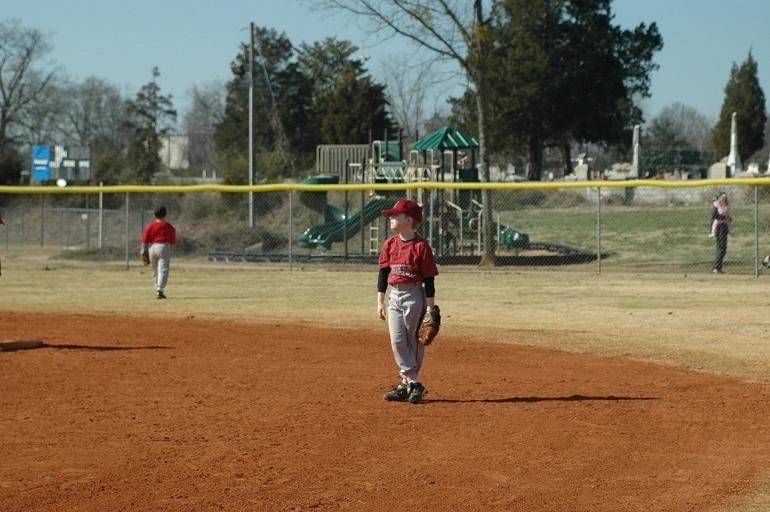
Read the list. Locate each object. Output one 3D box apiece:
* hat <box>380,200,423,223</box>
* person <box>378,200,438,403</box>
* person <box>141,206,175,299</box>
[{"bbox_3d":[0.388,-0.995,24.903,0.728,0.415,0.480,5,2,-3],"label":"hat"},{"bbox_3d":[0.500,0.974,24.962,1.398,4.346,1.036,1,6,22],"label":"person"},{"bbox_3d":[-6.376,-0.224,32.232,0.838,2.610,1.033,12,12,42],"label":"person"}]
